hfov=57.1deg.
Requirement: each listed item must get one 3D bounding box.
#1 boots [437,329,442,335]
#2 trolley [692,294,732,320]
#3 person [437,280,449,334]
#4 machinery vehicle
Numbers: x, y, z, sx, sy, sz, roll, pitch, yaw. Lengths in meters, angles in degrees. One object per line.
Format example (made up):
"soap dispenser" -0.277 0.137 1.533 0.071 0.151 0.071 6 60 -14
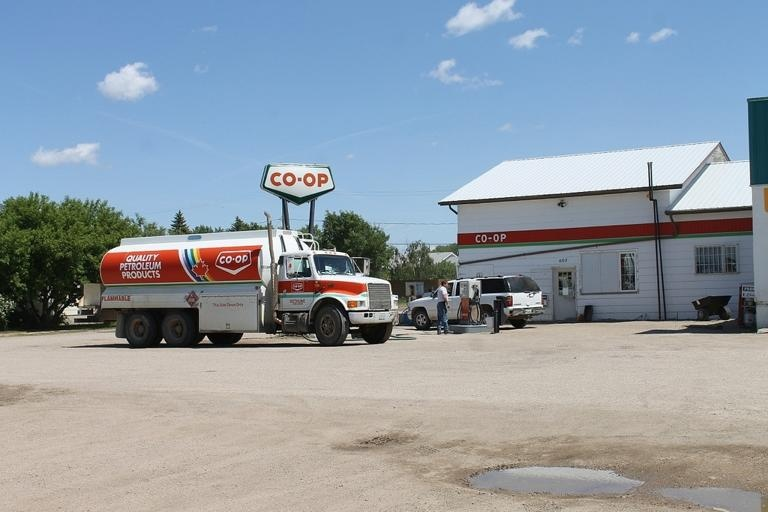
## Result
"boots" 2.127 2.949 27.212 0.173 0.145 0.257 -3 -10 4
"trolley" 14.800 2.330 31.995 1.048 1.006 1.415 1 2 -28
"person" 2.258 1.994 27.557 0.443 2.075 1.144 -1 -5 4
"machinery vehicle" -5.071 0.972 24.930 9.128 4.086 3.046 -2 0 15
